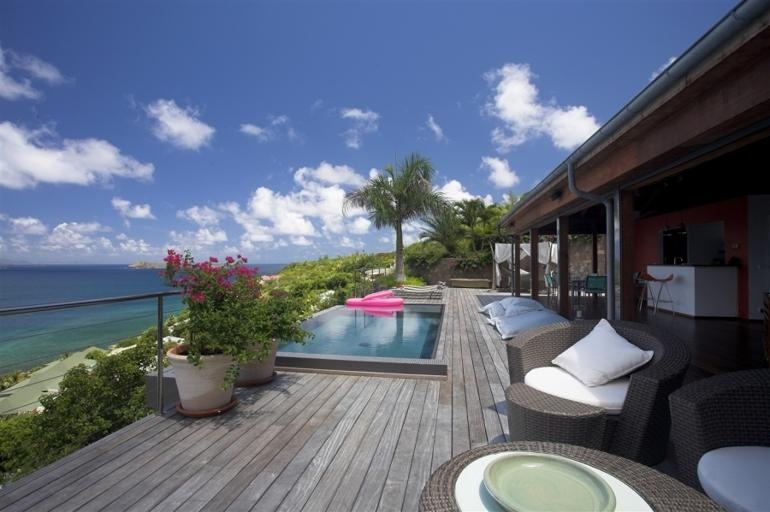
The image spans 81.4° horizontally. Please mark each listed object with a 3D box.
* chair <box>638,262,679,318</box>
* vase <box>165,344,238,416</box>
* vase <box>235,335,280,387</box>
[{"bbox_3d":[5.975,0.778,9.789,0.841,1.182,0.884,-9,8,-31],"label":"chair"},{"bbox_3d":[-2.155,1.417,5.260,0.741,0.614,0.717,0,-2,-45],"label":"vase"},{"bbox_3d":[-1.639,1.369,5.983,0.577,0.440,0.595,1,3,19],"label":"vase"}]
